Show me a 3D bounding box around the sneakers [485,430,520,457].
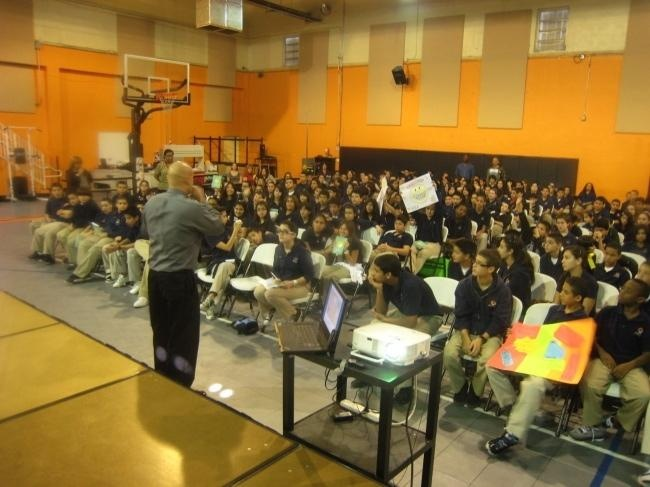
[{"bbox_3d":[1.485,1.701,4.211,0.308,0.150,0.146,-23,-15,19],"label":"sneakers"}]

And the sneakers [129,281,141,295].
[{"bbox_3d":[-2.893,0.701,7.633,0.119,0.162,0.366,-1,3,7],"label":"sneakers"}]

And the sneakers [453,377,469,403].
[{"bbox_3d":[1.369,1.475,4.892,0.182,0.208,0.088,-3,15,-30],"label":"sneakers"}]

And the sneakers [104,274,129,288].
[{"bbox_3d":[-3.346,0.596,7.932,0.175,0.232,0.520,8,4,31],"label":"sneakers"}]

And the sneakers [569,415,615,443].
[{"bbox_3d":[2.454,1.683,4.510,0.510,0.244,0.175,2,3,-7],"label":"sneakers"}]

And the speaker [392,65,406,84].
[{"bbox_3d":[2.652,-6.018,17.771,0.547,0.682,0.499,9,14,17],"label":"speaker"}]

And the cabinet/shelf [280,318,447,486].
[{"bbox_3d":[0.165,1.118,3.326,1.118,0.945,0.710,11,15,26],"label":"cabinet/shelf"}]

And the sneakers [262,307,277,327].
[{"bbox_3d":[-0.745,0.983,6.547,0.090,0.135,0.310,-12,16,16],"label":"sneakers"}]

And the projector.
[{"bbox_3d":[0.395,0.629,3.103,0.282,0.091,0.291,6,11,39],"label":"projector"}]

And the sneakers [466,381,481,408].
[{"bbox_3d":[1.478,1.517,4.892,0.152,0.144,0.201,9,15,18],"label":"sneakers"}]

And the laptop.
[{"bbox_3d":[-0.032,0.554,3.440,0.363,0.448,0.612,8,10,-7],"label":"laptop"}]

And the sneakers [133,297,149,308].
[{"bbox_3d":[-2.643,0.835,7.090,0.187,0.128,0.276,-1,15,-23],"label":"sneakers"}]

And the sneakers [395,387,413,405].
[{"bbox_3d":[0.779,1.512,4.886,0.177,0.077,0.316,1,16,18],"label":"sneakers"}]
